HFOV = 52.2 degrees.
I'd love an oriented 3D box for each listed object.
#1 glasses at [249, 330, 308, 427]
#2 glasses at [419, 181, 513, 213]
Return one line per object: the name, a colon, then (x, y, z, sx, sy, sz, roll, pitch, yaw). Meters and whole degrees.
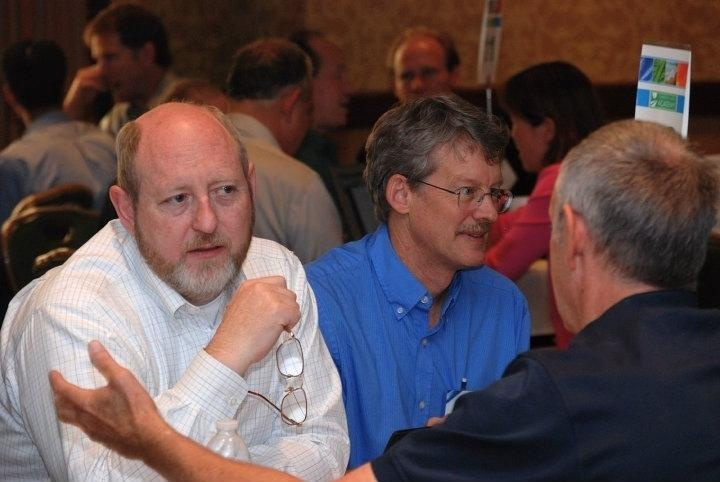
glasses: (-0.249, 0.421, 2.246, 0.174, 0.267, 0.136, 0, 12, -6)
glasses: (0.414, -0.152, 2.590, 0.205, 0.125, 0.413, 12, 16, 43)
